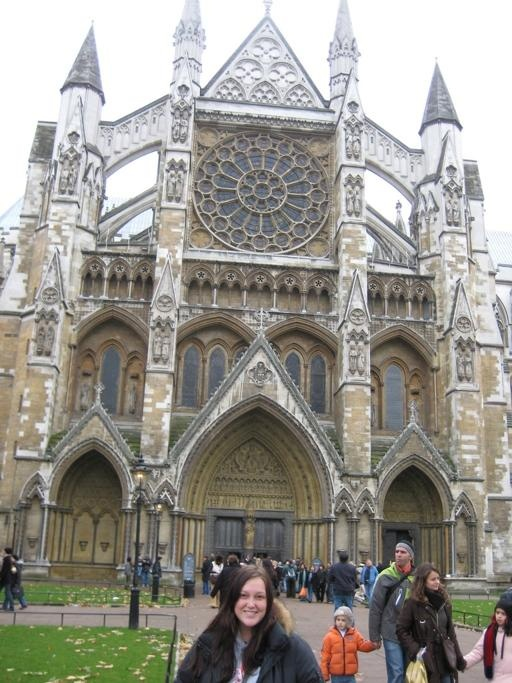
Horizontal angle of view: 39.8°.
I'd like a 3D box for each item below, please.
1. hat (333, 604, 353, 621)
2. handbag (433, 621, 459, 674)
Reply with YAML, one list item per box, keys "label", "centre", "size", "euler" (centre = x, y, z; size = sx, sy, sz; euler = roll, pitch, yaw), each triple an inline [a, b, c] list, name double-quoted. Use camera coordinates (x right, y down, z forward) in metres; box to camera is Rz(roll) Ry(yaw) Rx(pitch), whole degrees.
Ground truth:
- label: "hat"
  centre: [0.794, 2.472, 6.406]
  size: [0.137, 0.127, 0.287]
  euler: [0, -19, 4]
- label: "handbag"
  centre: [1.603, 2.595, 5.926]
  size: [0.204, 0.353, 0.079]
  euler: [19, -26, -41]
